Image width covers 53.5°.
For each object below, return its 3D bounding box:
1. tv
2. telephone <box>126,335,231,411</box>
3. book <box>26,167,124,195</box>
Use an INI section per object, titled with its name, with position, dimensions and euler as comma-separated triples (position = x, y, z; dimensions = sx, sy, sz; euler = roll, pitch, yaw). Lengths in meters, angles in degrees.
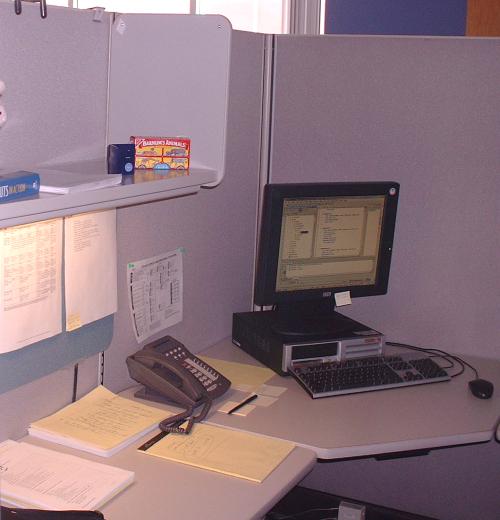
[tv]
position = 0.239, -0.009, 1.522
dimensions = 0.496, 0.452, 0.167
euler = -7, 26, -23
[telephone]
position = -0.179, 0.276, 1.250
dimensions = 0.223, 0.106, 0.153
euler = 12, 22, 24
[book]
position = -0.282, -0.129, 0.841
dimensions = 0.136, 0.029, 0.155
euler = -2, 11, -20
